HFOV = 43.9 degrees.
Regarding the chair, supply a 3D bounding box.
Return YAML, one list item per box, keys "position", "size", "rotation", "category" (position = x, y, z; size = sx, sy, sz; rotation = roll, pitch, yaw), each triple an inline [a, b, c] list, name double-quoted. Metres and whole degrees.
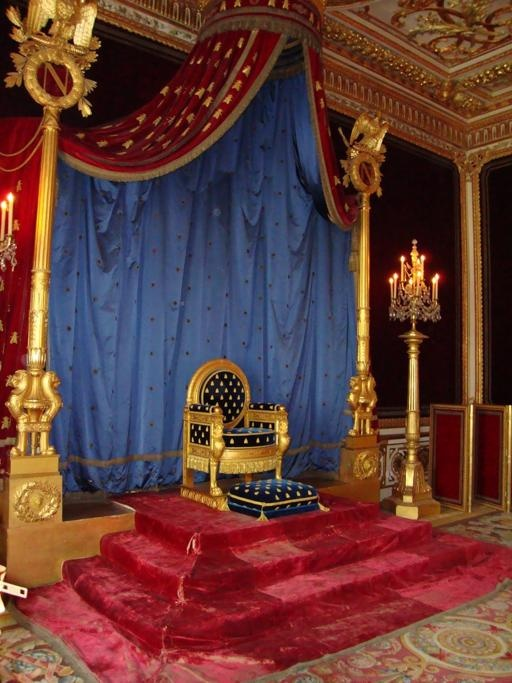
- position: [-0.113, 0.564, 4.118]
  size: [0.631, 0.845, 0.565]
  rotation: [0, -1, -26]
  category: "chair"
